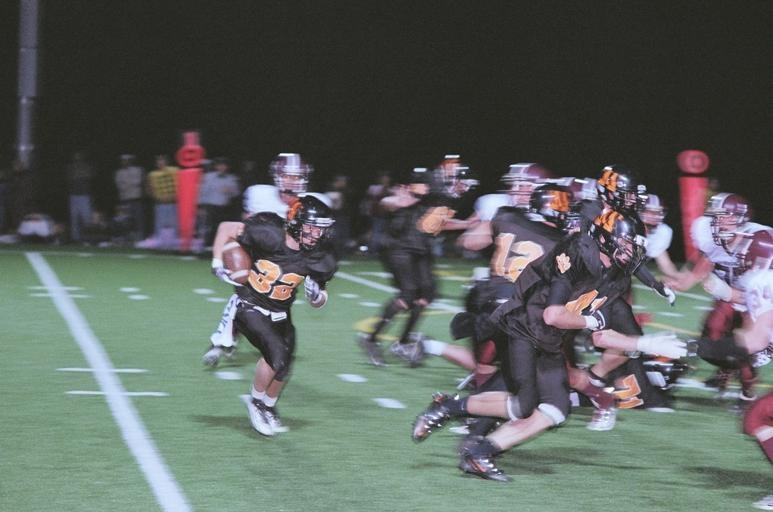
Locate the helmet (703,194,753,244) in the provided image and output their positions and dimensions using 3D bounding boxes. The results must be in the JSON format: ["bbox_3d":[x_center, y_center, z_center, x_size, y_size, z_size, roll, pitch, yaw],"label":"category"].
[{"bbox_3d":[2.727,-0.291,6.159,0.320,0.405,0.304,6,8,21],"label":"helmet"}]

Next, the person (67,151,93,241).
[{"bbox_3d":[-6.611,-1.220,16.563,0.518,1.930,0.759,1,8,-20],"label":"person"}]

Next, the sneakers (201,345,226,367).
[{"bbox_3d":[-1.614,0.931,7.163,0.194,0.234,0.075,24,-17,-4],"label":"sneakers"}]

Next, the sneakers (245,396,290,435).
[{"bbox_3d":[-0.924,1.106,5.445,0.422,0.155,0.170,29,14,33],"label":"sneakers"}]

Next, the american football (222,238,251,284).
[{"bbox_3d":[-1.212,0.042,6.165,0.169,0.312,0.257,-34,-26,12],"label":"american football"}]

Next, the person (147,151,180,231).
[{"bbox_3d":[-4.602,-1.214,15.928,0.738,1.647,0.581,4,8,6],"label":"person"}]

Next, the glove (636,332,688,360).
[{"bbox_3d":[1.639,0.557,4.590,0.269,0.138,0.061,5,-37,25],"label":"glove"}]

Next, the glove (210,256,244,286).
[{"bbox_3d":[-1.182,0.129,5.744,0.209,0.203,0.392,-2,8,-33],"label":"glove"}]

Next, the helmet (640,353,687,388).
[{"bbox_3d":[2.292,0.988,6.505,0.423,0.203,0.278,7,-8,-16],"label":"helmet"}]

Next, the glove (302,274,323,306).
[{"bbox_3d":[-0.533,0.269,5.528,0.131,0.243,0.219,2,7,-7],"label":"glove"}]

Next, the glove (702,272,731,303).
[{"bbox_3d":[2.571,0.252,5.953,0.212,0.217,0.404,6,7,24],"label":"glove"}]

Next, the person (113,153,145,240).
[{"bbox_3d":[-5.459,-1.179,16.341,0.576,1.852,0.831,0,8,-20],"label":"person"}]

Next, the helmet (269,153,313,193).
[{"bbox_3d":[-0.858,-0.749,6.979,0.456,0.358,0.442,2,13,0],"label":"helmet"}]
